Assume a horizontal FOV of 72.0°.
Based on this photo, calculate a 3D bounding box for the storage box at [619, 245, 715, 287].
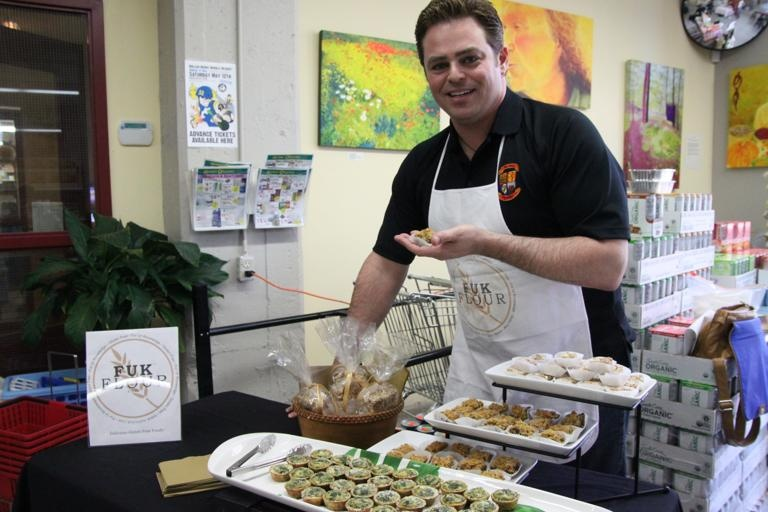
[{"bbox_3d":[1.988,0.062,3.651,1.258,0.170,0.210,-10,-2,-43],"label":"storage box"}]

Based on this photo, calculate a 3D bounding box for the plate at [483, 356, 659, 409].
[{"bbox_3d":[0.623,0.399,1.793,0.468,0.094,0.299,2,5,34],"label":"plate"}]

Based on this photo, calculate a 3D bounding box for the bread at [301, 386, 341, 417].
[{"bbox_3d":[-0.222,0.513,1.854,0.089,0.051,0.123,-11,23,-38],"label":"bread"}]

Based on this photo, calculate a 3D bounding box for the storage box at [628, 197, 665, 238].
[{"bbox_3d":[1.757,-0.272,3.596,0.208,0.259,0.222,-4,4,-36],"label":"storage box"}]

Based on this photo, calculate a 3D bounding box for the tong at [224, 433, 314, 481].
[{"bbox_3d":[-0.390,0.668,1.742,0.105,0.044,0.180,10,18,41],"label":"tong"}]

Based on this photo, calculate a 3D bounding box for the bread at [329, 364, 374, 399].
[{"bbox_3d":[-0.123,0.451,1.903,0.103,0.063,0.116,7,-1,-2],"label":"bread"}]

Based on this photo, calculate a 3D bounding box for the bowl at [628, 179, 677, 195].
[{"bbox_3d":[1.863,-0.482,3.698,0.200,0.091,0.290,2,2,34],"label":"bowl"}]

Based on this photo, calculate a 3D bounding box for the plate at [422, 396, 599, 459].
[{"bbox_3d":[0.412,0.552,1.735,0.429,0.065,0.265,5,11,30],"label":"plate"}]

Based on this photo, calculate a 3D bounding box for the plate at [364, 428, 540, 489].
[{"bbox_3d":[0.246,0.649,1.773,0.354,0.047,0.217,4,9,30],"label":"plate"}]

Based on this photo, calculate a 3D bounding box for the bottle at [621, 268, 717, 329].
[{"bbox_3d":[1.913,0.240,3.703,0.672,0.158,0.442,-16,19,-12],"label":"bottle"}]

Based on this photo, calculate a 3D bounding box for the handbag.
[{"bbox_3d":[1.912,0.675,2.961,0.264,0.716,0.482,-7,-9,39],"label":"handbag"}]

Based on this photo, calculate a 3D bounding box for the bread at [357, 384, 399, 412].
[{"bbox_3d":[-0.024,0.503,1.853,0.089,0.037,0.117,0,8,-7],"label":"bread"}]
